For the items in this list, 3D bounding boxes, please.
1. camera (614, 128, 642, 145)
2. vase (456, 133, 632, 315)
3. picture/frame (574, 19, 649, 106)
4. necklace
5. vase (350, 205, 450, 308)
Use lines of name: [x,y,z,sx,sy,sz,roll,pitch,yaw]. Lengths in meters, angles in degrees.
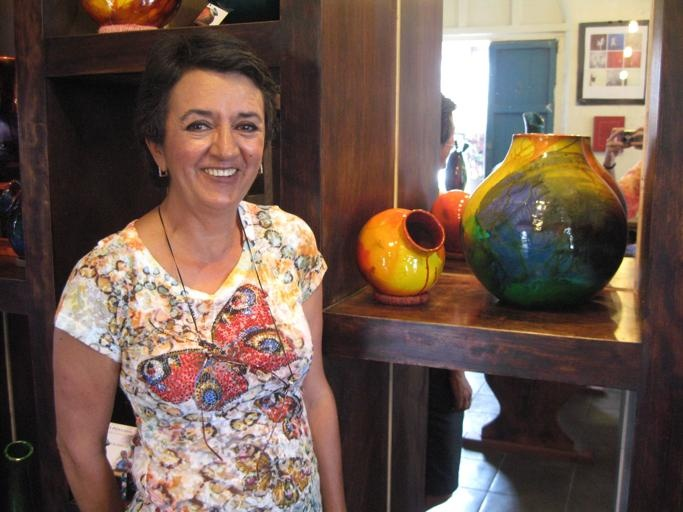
camera: [0.904,-0.377,1.841,0.067,0.039,0.024,4,10,25]
vase: [0.450,-0.068,1.489,0.428,0.487,0.379,-1,3,-6]
picture/frame: [0.828,-0.588,1.807,0.209,0.257,0.052,-3,11,8]
necklace: [-0.221,0.043,1.274,0.165,0.594,0.027,-19,-1,-14]
vase: [0.148,0.002,1.473,0.215,0.229,0.123,-4,11,0]
